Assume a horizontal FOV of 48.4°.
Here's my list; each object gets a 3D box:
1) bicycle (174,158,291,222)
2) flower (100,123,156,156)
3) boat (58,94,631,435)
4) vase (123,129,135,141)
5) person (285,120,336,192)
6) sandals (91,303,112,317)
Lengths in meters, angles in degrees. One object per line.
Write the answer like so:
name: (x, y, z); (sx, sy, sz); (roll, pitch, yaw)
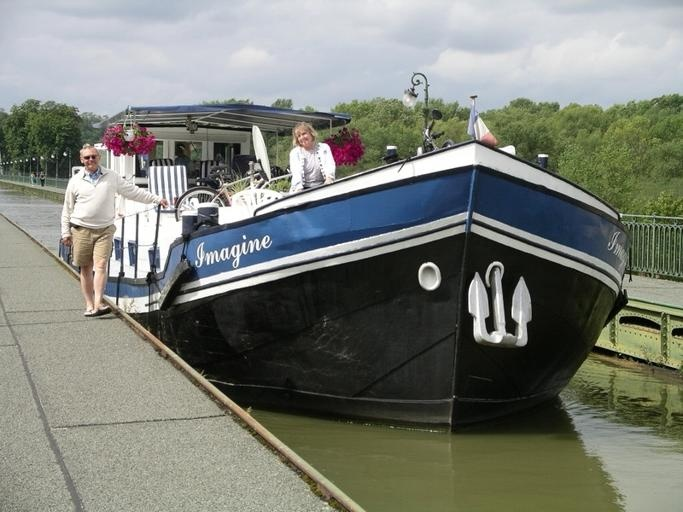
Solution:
bicycle: (-1.468, -0.695, 10.209); (1.655, 1.082, 0.873); (-6, 16, -4)
flower: (-3.394, -1.836, 12.170); (0.572, 0.385, 0.621); (1, 7, -6)
boat: (0.194, 0.309, 8.431); (4.980, 3.356, 1.750); (12, 8, 24)
vase: (-3.383, -1.922, 12.149); (0.162, 0.181, 0.137); (2, 7, 0)
person: (-0.348, -1.096, 8.475); (0.543, 0.887, 0.754); (-4, 10, -2)
sandals: (-2.872, 0.638, 9.121); (0.216, 0.086, 0.092); (-13, -23, 16)
